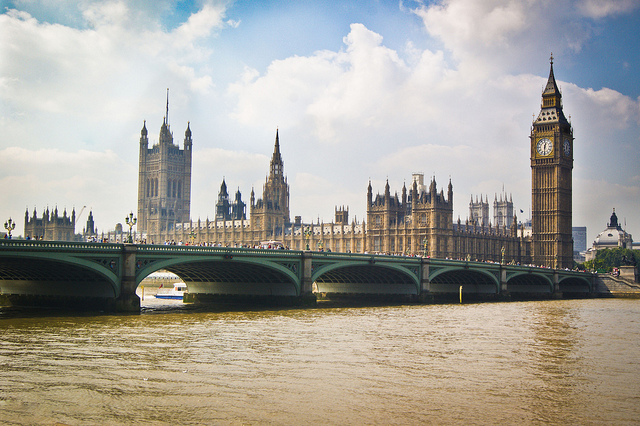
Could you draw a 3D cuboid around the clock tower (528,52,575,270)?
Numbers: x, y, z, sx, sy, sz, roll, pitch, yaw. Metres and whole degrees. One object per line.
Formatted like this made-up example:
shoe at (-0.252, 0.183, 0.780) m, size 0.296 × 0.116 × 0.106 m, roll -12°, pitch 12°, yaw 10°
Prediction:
clock tower at (38.962, -7.317, 184.214) m, size 6.548 × 32.182 × 5.762 m, roll 2°, pitch 4°, yaw 10°
